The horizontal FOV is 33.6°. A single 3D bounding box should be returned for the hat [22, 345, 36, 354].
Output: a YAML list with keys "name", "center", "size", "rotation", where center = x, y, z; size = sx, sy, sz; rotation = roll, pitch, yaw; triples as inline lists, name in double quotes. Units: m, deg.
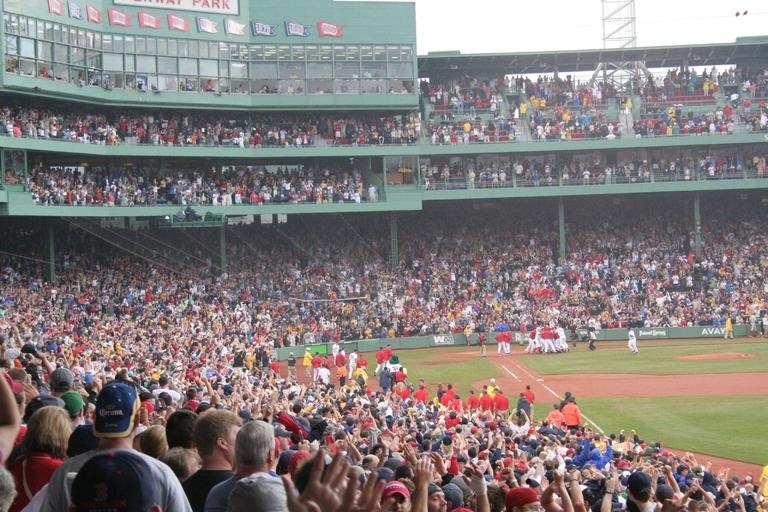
- name: "hat"
  center: [-17.254, 4.500, 61.349]
  size: [0.437, 0.590, 0.468]
  rotation: [11, -9, 7]

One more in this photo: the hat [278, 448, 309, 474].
- name: "hat"
  center: [-4.029, 8.896, 55.108]
  size: [0.816, 1.051, 1.037]
  rotation: [8, 42, 33]

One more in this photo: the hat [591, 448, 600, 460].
- name: "hat"
  center: [10.275, 9.610, 61.985]
  size: [0.435, 0.490, 0.434]
  rotation: [3, -10, 1]

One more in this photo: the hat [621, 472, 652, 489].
- name: "hat"
  center: [11.290, 9.945, 56.456]
  size: [0.996, 0.778, 0.402]
  rotation: [-2, 2, 10]

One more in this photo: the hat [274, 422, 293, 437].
- name: "hat"
  center: [-4.634, 7.808, 57.066]
  size: [0.770, 0.627, 0.832]
  rotation: [-3, 1, -8]

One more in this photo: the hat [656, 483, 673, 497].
- name: "hat"
  center: [12.575, 10.581, 57.105]
  size: [0.804, 0.653, 0.894]
  rotation: [-2, 1, 11]
